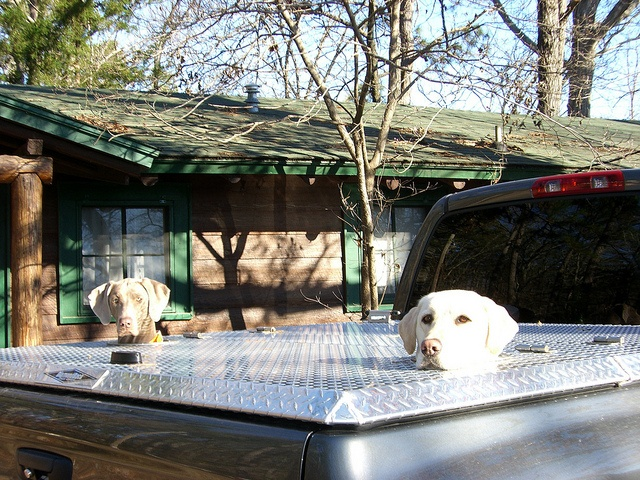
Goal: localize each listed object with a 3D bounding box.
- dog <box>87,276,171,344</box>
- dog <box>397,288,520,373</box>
[{"bbox_3d":[-0.784,0.293,2.548,0.391,0.284,0.273,-3,-15,-12],"label":"dog"},{"bbox_3d":[0.380,0.235,1.637,0.342,0.153,0.321,1,2,1],"label":"dog"}]
